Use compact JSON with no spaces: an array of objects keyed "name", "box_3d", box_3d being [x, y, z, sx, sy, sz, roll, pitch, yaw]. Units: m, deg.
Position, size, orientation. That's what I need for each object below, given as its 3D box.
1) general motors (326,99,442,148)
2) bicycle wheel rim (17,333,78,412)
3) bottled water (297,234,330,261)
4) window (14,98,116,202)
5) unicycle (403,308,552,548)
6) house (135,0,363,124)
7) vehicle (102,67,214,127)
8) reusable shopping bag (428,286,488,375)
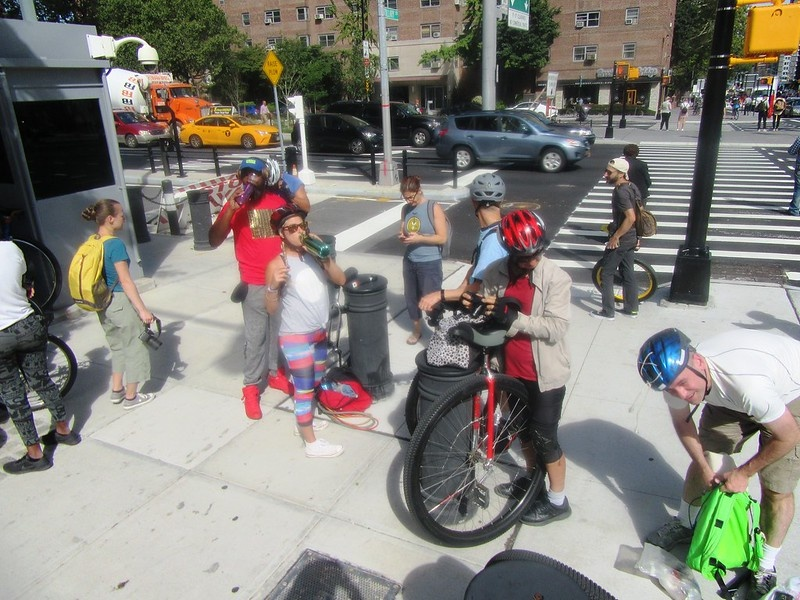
[{"name":"general motors","box_3d":[-0.695,-8.785,26.311,5.599,2.206,2.538,0,38,1]},{"name":"bicycle wheel rim","box_3d":[-3.796,0.764,5.623,0.626,0.715,0.670,-11,-9,5]},{"name":"bottled water","box_3d":[-0.680,-0.435,4.330,0.142,0.182,0.287,-20,30,-34]},{"name":"window","box_3d":[-4.690,-2.093,7.259,0.137,1.479,1.451,5,31,25]},{"name":"unicycle","box_3d":[0.503,1.027,3.871,1.180,1.534,0.625,-13,25,-22]},{"name":"house","box_3d":[-12.133,-21.753,48.038,24.676,7.916,16.410,-20,35,-29]},{"name":"vehicle","box_3d":[-14.343,-11.153,30.424,4.574,2.426,1.842,5,20,7]},{"name":"reusable shopping bag","box_3d":[0.459,0.210,3.944,0.450,0.180,0.630,-9,33,31]}]
